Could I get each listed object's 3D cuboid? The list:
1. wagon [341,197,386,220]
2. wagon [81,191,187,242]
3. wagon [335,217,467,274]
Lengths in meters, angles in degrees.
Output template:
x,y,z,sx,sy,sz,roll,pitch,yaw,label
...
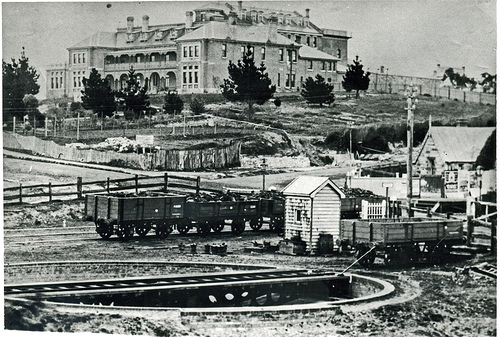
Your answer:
x,y,z,sx,sy,sz,roll,pitch,yaw,label
7.816,2.812,68.859,3.176,1.493,1.034,-2,3,-30,wagon
-7.995,3.368,66.794,4.090,3.043,6.542,3,2,40,wagon
9.008,4.963,60.402,3.797,3.452,6.446,1,-1,37,wagon
